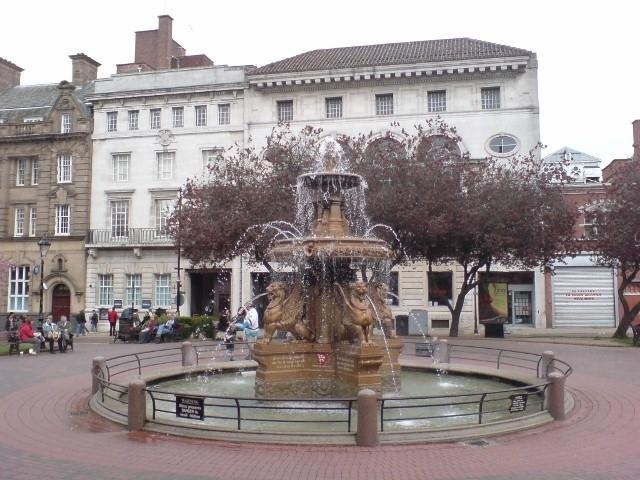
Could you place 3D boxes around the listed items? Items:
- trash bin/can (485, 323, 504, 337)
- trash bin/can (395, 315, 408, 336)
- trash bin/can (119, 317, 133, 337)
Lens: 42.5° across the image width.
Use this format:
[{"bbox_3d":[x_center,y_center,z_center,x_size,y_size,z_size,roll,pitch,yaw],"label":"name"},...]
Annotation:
[{"bbox_3d":[8.733,4.618,41.472,1.185,0.871,0.637,0,-12,0],"label":"trash bin/can"},{"bbox_3d":[4.262,4.507,42.785,0.656,1.040,0.600,-2,-2,2],"label":"trash bin/can"},{"bbox_3d":[-9.907,4.514,42.274,0.752,1.382,0.751,-3,-5,11],"label":"trash bin/can"}]
